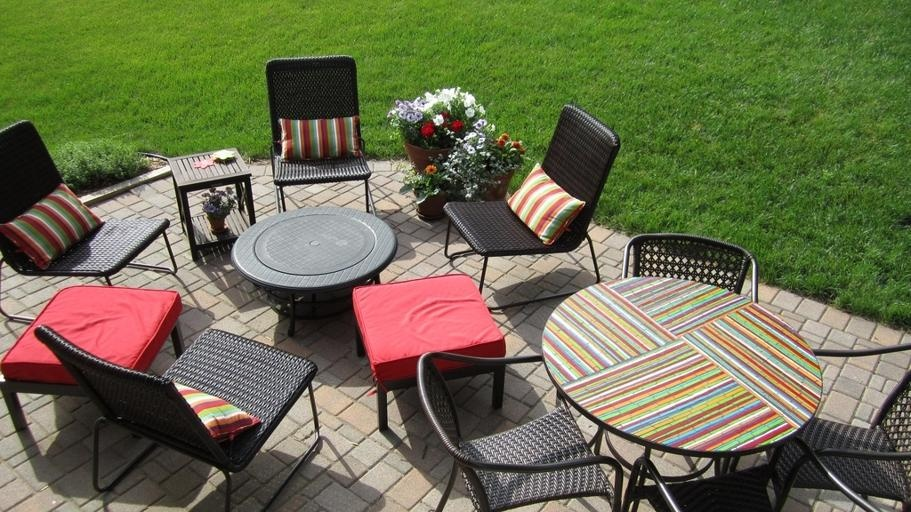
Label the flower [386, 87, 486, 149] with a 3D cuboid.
[{"bbox_3d":[-0.177,-1.865,9.034,1.122,0.602,0.911,5,34,19],"label":"flower"}]

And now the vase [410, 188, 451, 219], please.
[{"bbox_3d":[-0.293,-0.647,8.853,0.367,0.257,0.344,-5,27,-7],"label":"vase"}]

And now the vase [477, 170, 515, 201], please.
[{"bbox_3d":[0.533,-0.878,8.790,0.382,0.308,0.408,1,20,0],"label":"vase"}]

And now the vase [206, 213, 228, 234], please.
[{"bbox_3d":[-2.912,-0.426,8.485,0.251,0.225,0.238,-8,35,-18],"label":"vase"}]

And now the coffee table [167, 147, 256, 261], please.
[{"bbox_3d":[-2.941,-0.593,8.535,0.833,0.787,0.769,-13,19,-22],"label":"coffee table"}]

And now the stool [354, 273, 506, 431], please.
[{"bbox_3d":[-0.305,0.704,6.973,1.556,0.998,1.457,-10,47,-13],"label":"stool"}]

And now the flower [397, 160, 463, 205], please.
[{"bbox_3d":[-0.357,-0.992,8.790,0.881,0.419,0.766,-24,22,-40],"label":"flower"}]

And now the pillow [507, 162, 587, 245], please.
[{"bbox_3d":[1.037,-0.622,8.173,0.534,0.479,1.200,-13,33,-13],"label":"pillow"}]

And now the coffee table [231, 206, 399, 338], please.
[{"bbox_3d":[-1.603,0.147,7.972,1.805,0.686,1.797,-23,40,-32],"label":"coffee table"}]

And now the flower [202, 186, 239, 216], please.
[{"bbox_3d":[-2.906,-0.652,8.545,0.450,0.264,0.427,-1,27,-14],"label":"flower"}]

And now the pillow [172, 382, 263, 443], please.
[{"bbox_3d":[-2.166,1.367,6.232,0.603,0.175,0.549,35,16,17],"label":"pillow"}]
